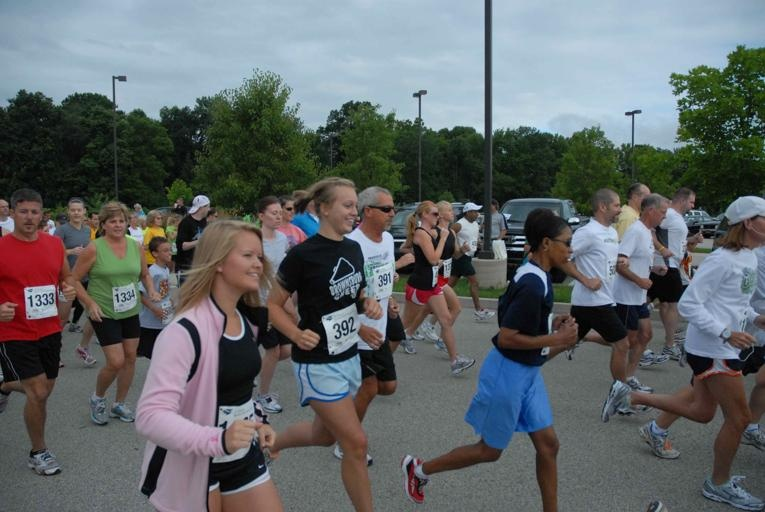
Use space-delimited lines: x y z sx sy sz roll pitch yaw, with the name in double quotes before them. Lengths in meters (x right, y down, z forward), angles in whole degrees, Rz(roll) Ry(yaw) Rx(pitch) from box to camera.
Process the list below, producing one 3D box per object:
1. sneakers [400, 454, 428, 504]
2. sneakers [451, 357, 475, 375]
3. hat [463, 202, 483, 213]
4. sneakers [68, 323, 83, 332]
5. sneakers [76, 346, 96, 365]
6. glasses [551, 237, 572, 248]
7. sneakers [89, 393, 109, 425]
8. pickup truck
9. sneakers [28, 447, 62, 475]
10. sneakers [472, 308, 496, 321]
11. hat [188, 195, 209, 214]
"sneakers" 0.273 2.020 5.760 0.206 0.454 0.165 -1 8 -3
"sneakers" 1.051 1.512 8.903 0.411 0.204 0.151 -17 -4 -8
"hat" 1.691 -0.878 12.427 0.306 0.127 0.204 -8 9 22
"sneakers" -5.506 1.306 11.718 0.235 0.103 0.132 -1 10 -8
"sneakers" -4.426 1.516 9.742 0.286 0.136 0.104 36 20 -1
"glasses" 1.510 -0.100 5.521 0.214 0.096 0.086 -8 11 -39
"sneakers" -3.263 1.753 7.485 0.416 0.190 0.152 36 14 34
"pickup truck" 3.897 -0.702 17.678 2.108 1.710 4.022 0 1 28
"sneakers" -3.336 2.034 6.448 0.429 0.201 0.184 5 10 33
"sneakers" 1.890 1.126 12.270 0.398 0.186 0.161 -4 8 -5
"hat" -3.102 -0.859 11.168 0.250 0.211 0.382 7 26 36
